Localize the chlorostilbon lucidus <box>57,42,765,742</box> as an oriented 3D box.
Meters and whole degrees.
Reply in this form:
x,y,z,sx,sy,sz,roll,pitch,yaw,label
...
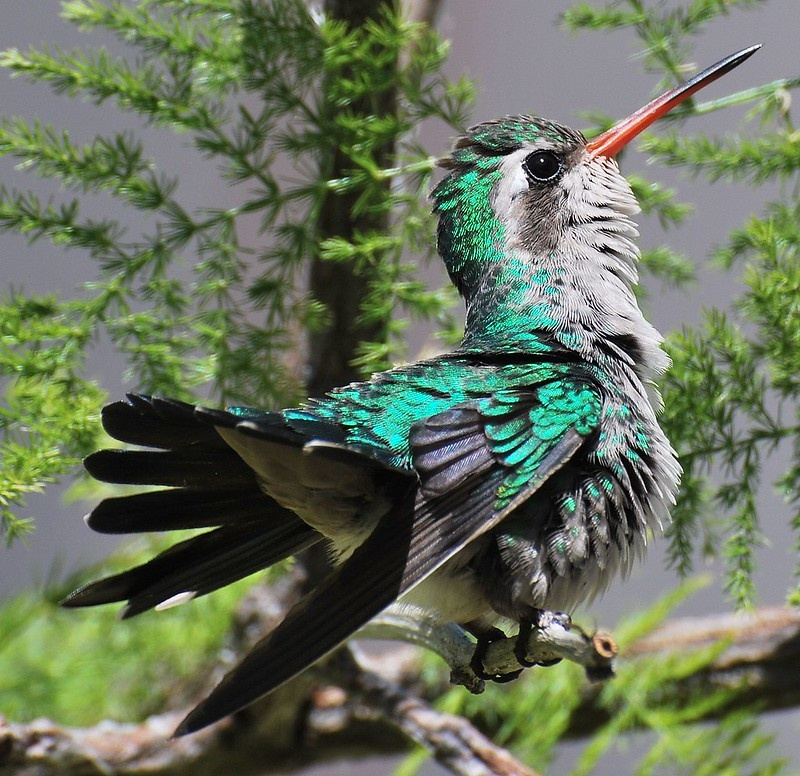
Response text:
x,y,z,sx,sy,sz,roll,pitch,yaw,label
0.107,-0.086,3.318,1.372,2.184,0.712,9,-37,10,chlorostilbon lucidus
